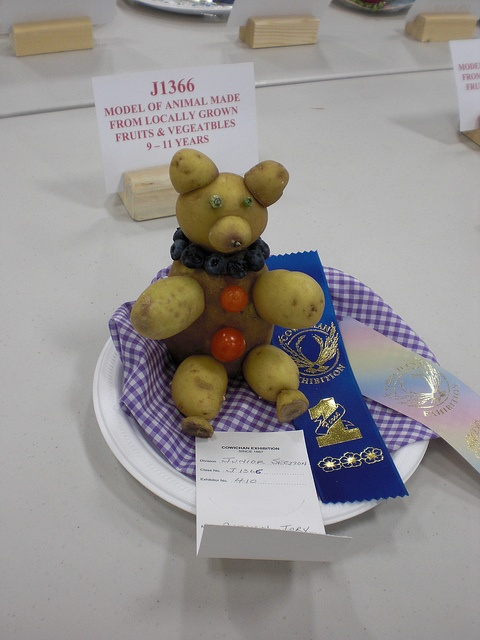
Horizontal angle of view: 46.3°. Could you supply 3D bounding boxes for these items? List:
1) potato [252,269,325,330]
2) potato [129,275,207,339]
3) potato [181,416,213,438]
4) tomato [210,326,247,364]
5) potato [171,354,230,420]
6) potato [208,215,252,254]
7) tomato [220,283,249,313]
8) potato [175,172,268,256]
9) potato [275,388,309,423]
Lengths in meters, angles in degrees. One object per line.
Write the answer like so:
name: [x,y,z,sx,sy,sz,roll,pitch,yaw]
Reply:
potato: [0.041,-0.022,0.574,0.068,0.049,0.049,20,36,20]
potato: [-0.059,-0.019,0.537,0.070,0.043,0.042,-27,31,-21]
potato: [-0.040,0.102,0.525,0.027,0.018,0.009,-2,8,4]
tomato: [-0.011,0.024,0.541,0.033,0.031,0.018,31,-4,-4]
potato: [-0.039,0.069,0.590,0.062,0.033,0.056,29,56,-11]
potato: [-0.007,-0.072,0.477,0.033,0.030,0.018,23,7,-9]
tomato: [-0.007,-0.020,0.526,0.022,0.021,0.021,-18,45,-21]
potato: [-0.022,-0.097,0.524,0.075,0.058,0.077,-3,23,-19]
potato: [0.051,0.085,0.551,0.032,0.032,0.015,5,36,-16]
